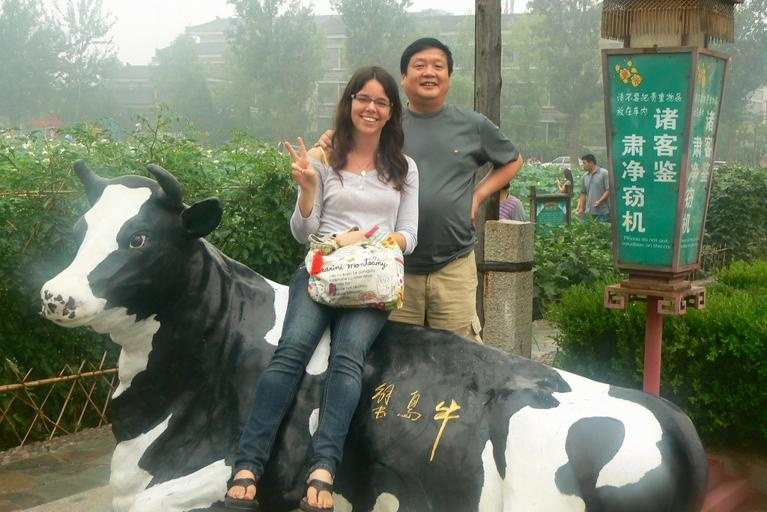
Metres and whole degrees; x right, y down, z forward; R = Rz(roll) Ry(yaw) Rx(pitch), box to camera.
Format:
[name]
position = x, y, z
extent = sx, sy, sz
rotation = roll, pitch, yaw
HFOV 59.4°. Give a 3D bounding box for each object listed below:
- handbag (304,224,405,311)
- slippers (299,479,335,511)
[handbag]
position = -0.172, 0.081, 3.797
extent = 0.455, 0.481, 0.197
rotation = -1, -2, 9
[slippers]
position = -0.346, 1.225, 3.474
extent = 0.167, 0.162, 0.169
rotation = -1, 8, -8
